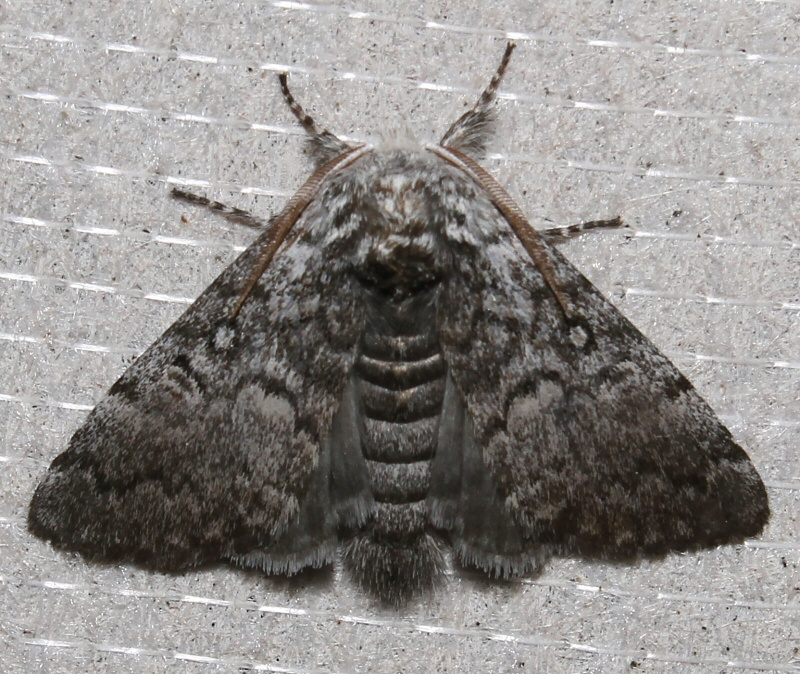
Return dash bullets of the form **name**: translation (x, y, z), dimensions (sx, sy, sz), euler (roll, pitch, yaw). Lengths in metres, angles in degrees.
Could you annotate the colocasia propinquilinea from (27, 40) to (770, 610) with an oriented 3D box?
- **colocasia propinquilinea**: translation (0.085, 0.011, 3.431), dimensions (1.376, 1.393, 0.433), euler (-1, 7, 5)
